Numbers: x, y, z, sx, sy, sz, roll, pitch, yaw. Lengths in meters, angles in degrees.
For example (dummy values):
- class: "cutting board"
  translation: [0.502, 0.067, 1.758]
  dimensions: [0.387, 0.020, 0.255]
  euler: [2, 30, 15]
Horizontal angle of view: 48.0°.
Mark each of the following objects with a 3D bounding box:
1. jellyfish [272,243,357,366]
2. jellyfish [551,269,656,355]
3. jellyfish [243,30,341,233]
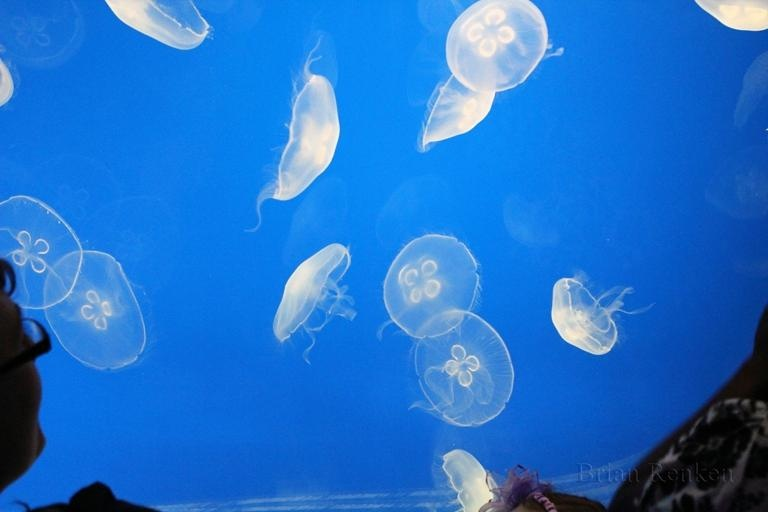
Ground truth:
- class: "jellyfish"
  translation: [-0.749, 0.519, 9.724]
  dimensions: [1.217, 0.724, 0.570]
  euler: [-37, -40, 6]
- class: "jellyfish"
  translation: [2.335, 0.638, 9.348]
  dimensions: [0.990, 0.842, 0.311]
  euler: [-28, -2, 2]
- class: "jellyfish"
  translation: [-0.866, -1.448, 9.656]
  dimensions: [0.579, 0.866, 1.813]
  euler: [12, -57, -39]
